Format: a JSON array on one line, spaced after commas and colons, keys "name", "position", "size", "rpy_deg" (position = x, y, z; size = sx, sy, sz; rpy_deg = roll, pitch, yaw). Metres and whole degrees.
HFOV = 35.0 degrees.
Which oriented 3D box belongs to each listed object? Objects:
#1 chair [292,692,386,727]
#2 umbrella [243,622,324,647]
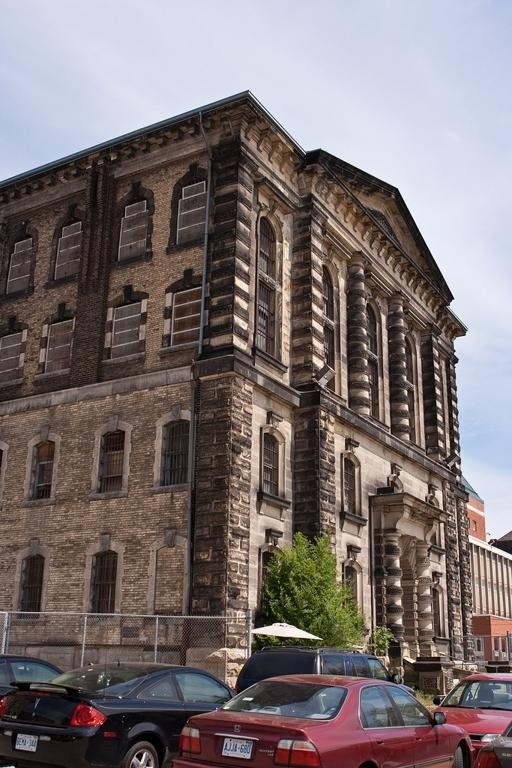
[{"name": "chair", "position": [0.801, 3.304, 8.232], "size": [0.570, 0.257, 0.307], "rpy_deg": [25, -33, -33]}, {"name": "umbrella", "position": [0.789, 6.799, 22.451], "size": [1.661, 0.484, 3.348], "rpy_deg": [1, -21, 3]}]
